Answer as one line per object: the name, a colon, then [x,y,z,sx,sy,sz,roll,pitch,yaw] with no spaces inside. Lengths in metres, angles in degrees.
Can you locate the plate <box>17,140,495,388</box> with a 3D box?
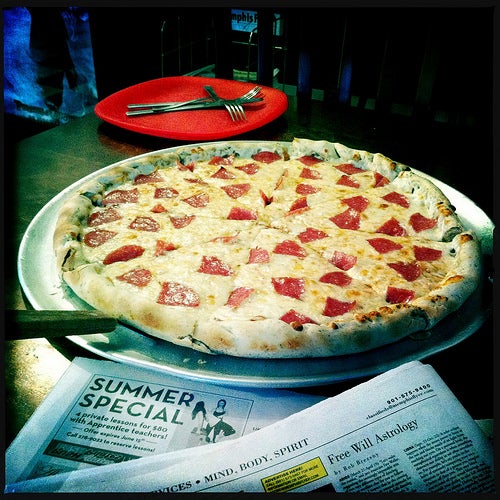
plate: [0.050,-0.073,1.463,1.314,0.164,1.273,7,29,12]
